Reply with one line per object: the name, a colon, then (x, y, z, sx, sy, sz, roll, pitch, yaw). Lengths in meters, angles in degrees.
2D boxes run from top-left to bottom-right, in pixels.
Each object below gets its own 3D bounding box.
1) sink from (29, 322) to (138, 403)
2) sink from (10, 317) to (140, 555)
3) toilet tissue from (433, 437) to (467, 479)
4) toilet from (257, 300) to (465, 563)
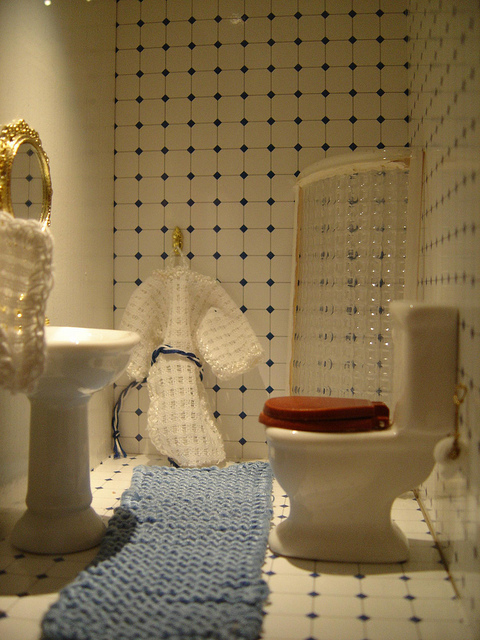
sink: (-0.435, 0.115, 1.720, 0.223, 0.135, 0.311, 6, 4, 2)
sink: (-0.516, 0.316, 1.857, 0.410, 0.677, 0.554, 0, -2, 7)
toilet tissue: (0.530, 0.349, 1.580, 0.074, 0.126, 0.110, 5, 6, 19)
toilet: (0.334, 0.287, 1.902, 0.598, 0.804, 0.439, -1, 9, 4)
